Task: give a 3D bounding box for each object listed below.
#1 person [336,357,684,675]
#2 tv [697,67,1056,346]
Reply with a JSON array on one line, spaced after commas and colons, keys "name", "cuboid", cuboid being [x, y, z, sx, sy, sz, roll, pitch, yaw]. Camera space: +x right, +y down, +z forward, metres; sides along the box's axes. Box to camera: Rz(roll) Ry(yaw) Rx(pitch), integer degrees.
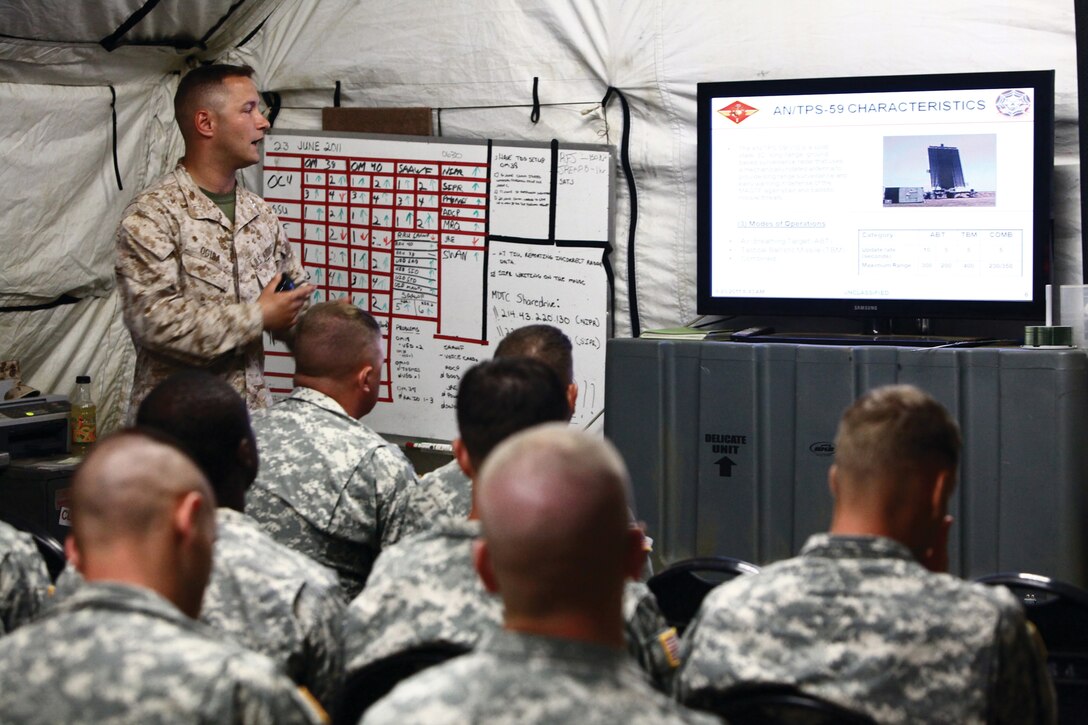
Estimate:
[{"name": "person", "cuboid": [-0.057, 0.362, 2.452, 0.804, 0.703, 0.458, 4, 16, 11]}, {"name": "tv", "cuboid": [1.367, -0.633, 4.084, 1.175, 0.805, 0.088, 1, 1, 15]}]
